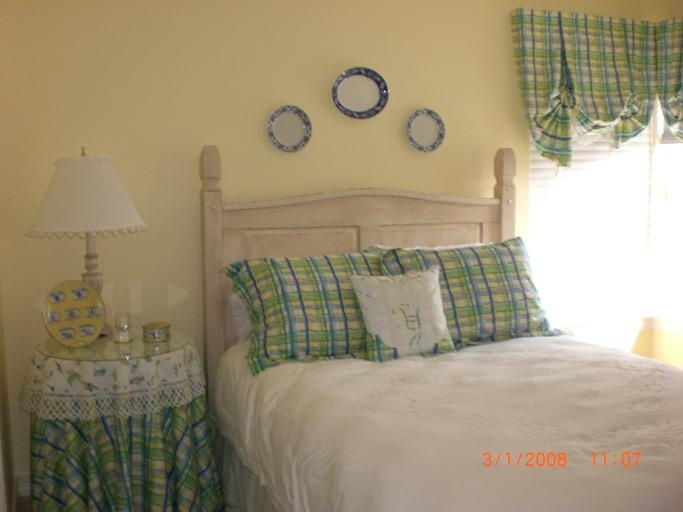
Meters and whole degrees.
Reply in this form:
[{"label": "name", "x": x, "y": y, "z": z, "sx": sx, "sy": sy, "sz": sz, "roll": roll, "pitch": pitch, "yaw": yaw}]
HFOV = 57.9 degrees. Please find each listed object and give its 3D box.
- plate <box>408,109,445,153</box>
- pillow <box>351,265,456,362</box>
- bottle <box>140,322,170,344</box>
[{"label": "plate", "x": 0.488, "y": -0.732, "z": 3.603, "sx": 0.242, "sy": 0.242, "sz": 0.048, "roll": 9, "pitch": -1, "yaw": -27}, {"label": "pillow", "x": 0.264, "y": 0.256, "z": 2.713, "sx": 0.398, "sy": 0.381, "sz": 0.119, "roll": -6, "pitch": -11, "yaw": -19}, {"label": "bottle", "x": -0.841, "y": 0.344, "z": 2.788, "sx": 0.096, "sy": 0.058, "sz": 0.095, "roll": 1, "pitch": 3, "yaw": 0}]
